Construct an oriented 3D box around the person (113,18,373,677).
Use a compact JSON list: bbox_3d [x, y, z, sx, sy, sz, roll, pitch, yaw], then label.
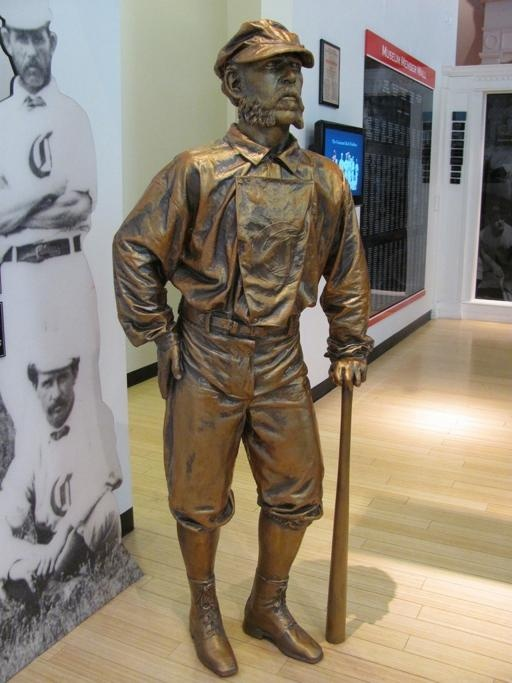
[{"bbox_3d":[-0.014,0.106,1.396,0.411,1.586,0.537,8,11,36],"label":"person"}]
